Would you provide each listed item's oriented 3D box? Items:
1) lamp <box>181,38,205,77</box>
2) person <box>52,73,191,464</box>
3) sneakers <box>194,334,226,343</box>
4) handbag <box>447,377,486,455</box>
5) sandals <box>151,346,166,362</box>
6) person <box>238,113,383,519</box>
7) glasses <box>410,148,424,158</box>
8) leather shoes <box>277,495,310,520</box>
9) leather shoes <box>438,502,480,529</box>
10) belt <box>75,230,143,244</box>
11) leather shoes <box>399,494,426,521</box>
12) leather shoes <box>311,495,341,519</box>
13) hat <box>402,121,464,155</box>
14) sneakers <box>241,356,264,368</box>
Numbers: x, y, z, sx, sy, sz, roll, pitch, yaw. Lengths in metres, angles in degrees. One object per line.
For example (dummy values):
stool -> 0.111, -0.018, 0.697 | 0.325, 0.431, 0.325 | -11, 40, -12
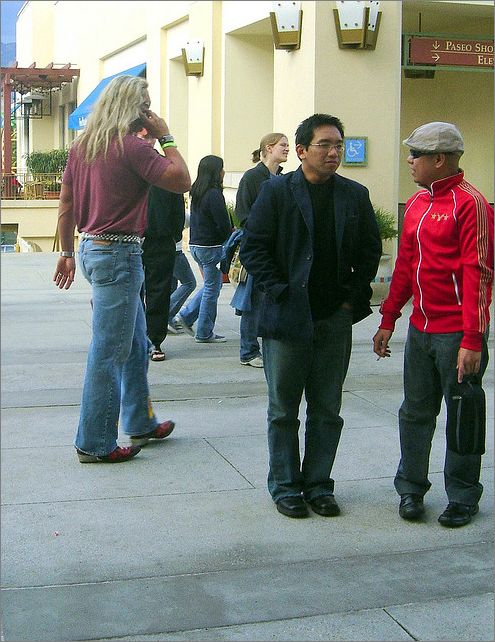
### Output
lamp -> -1.154, -5.512, 15.164 | 0.439, 0.687, 0.617 | -2, 8, -11
person -> -0.697, -0.266, 4.037 | 0.786, 2.043, 0.621 | 0, 7, -13
sneakers -> -0.404, 0.180, 7.948 | 0.338, 0.123, 0.119 | -3, 10, -19
handbag -> 0.916, 0.416, 3.032 | 0.155, 0.351, 0.153 | 1, 8, 14
sandals -> -0.866, 0.321, 6.961 | 0.154, 0.164, 0.401 | 0, -2, -14
person -> 0.291, -0.017, 3.238 | 0.640, 1.784, 0.321 | -1, 8, 0
glasses -> 0.727, -0.724, 3.104 | 0.049, 0.022, 0.047 | 9, 9, -1
leather shoes -> 0.198, 0.830, 3.247 | 0.079, 0.053, 0.130 | -1, 8, -20
leather shoes -> 0.915, 0.842, 3.140 | 0.078, 0.077, 0.214 | -1, -1, 40
belt -> -0.734, -0.442, 3.870 | 0.321, 0.065, 0.229 | -2, 8, -9
leather shoes -> 0.745, 0.838, 3.258 | 0.063, 0.066, 0.163 | 1, 5, 6
leather shoes -> 0.362, 0.837, 3.255 | 0.071, 0.047, 0.126 | -3, 9, -17
hat -> 0.789, -0.771, 3.086 | 0.223, 0.103, 0.152 | 6, 8, 12
sneakers -> 0.049, 0.378, 6.696 | 0.255, 0.111, 0.103 | -3, 0, 24
